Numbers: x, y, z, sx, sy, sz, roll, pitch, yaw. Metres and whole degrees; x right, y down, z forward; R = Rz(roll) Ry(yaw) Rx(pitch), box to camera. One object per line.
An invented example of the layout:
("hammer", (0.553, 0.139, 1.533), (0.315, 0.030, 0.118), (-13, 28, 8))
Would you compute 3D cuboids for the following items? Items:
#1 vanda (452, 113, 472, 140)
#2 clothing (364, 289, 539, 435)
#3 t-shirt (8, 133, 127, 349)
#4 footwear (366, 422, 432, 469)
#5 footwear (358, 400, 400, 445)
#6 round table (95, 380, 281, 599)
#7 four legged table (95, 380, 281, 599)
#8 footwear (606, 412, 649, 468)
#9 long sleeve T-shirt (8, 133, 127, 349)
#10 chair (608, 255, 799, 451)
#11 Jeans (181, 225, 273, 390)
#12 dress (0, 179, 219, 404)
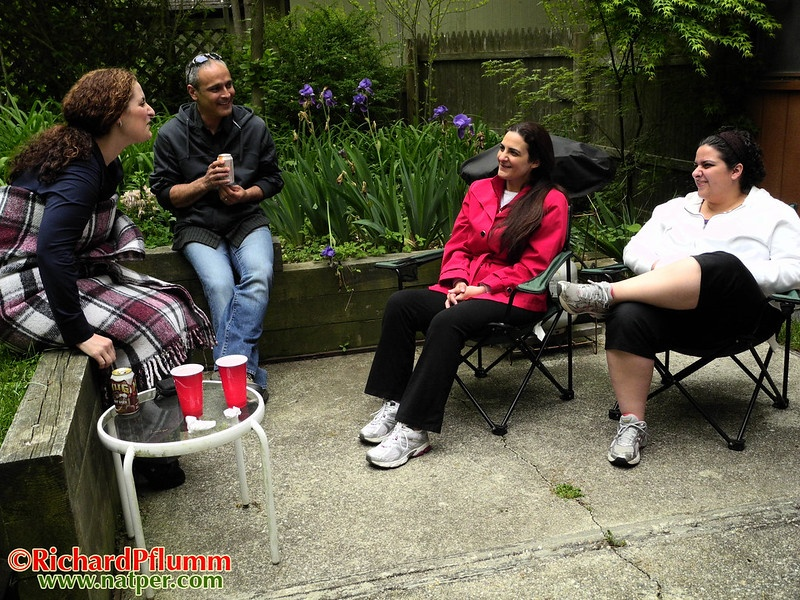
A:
("vanda", (0.470, -1.314, 4.873), (0.164, 0.146, 0.258), (-3, -19, 12))
("clothing", (0.205, 0.268, 3.351), (0.729, 0.582, 0.487), (-16, 25, -34))
("t-shirt", (-1.354, -0.236, 2.779), (0.391, 0.808, 0.436), (-14, 23, -29))
("footwear", (0.003, 0.702, 3.140), (0.340, 0.166, 0.117), (-18, 26, -37))
("footwear", (-0.099, 0.628, 3.362), (0.112, 0.141, 0.330), (6, 16, 35))
("round table", (-0.777, 0.626, 2.648), (0.726, 0.554, 0.746), (-2, 14, 0))
("four legged table", (-0.845, 0.695, 2.608), (0.613, 0.571, 0.626), (-8, 21, -15))
("footwear", (1.088, 0.665, 3.067), (0.139, 0.186, 0.246), (9, 23, 28))
("long sleeve T-shirt", (-1.355, -0.237, 2.781), (0.391, 0.808, 0.439), (-14, 23, -29))
("chair", (1.542, 0.228, 3.167), (1.077, 0.926, 0.492), (-3, 20, -3))
("Jeans", (-0.939, -0.018, 3.676), (0.443, 1.062, 0.300), (-6, -12, -9))
("dress", (-1.195, -0.063, 3.162), (1.025, 0.813, 0.707), (5, 5, -3))
